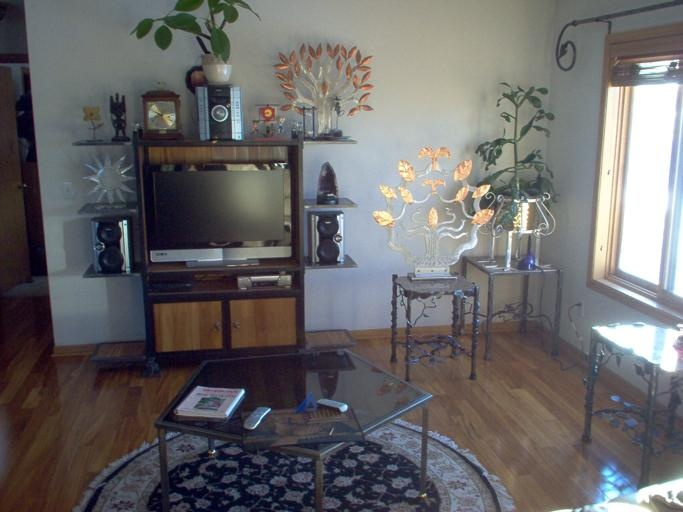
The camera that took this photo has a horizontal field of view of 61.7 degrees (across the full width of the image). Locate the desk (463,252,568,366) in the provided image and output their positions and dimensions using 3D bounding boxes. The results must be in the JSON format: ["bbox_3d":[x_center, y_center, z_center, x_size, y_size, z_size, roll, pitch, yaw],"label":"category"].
[{"bbox_3d":[1.373,0.424,4.803,0.796,0.703,0.710,0,11,3],"label":"desk"}]

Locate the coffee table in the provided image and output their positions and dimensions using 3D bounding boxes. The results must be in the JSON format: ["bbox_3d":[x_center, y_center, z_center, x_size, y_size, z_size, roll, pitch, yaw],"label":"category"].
[{"bbox_3d":[-0.214,0.780,3.147,1.004,0.409,0.935,-4,11,-22],"label":"coffee table"}]

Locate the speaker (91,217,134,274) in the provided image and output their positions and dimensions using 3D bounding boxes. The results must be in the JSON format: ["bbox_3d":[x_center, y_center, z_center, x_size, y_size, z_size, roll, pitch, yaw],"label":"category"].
[{"bbox_3d":[-1.790,-0.095,4.485,0.338,0.424,0.351,-10,16,-43],"label":"speaker"}]

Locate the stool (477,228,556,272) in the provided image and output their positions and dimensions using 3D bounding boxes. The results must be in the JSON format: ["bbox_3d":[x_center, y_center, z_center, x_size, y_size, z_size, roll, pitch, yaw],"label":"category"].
[{"bbox_3d":[1.349,-0.044,4.835,0.549,0.327,0.556,-3,-6,45],"label":"stool"}]

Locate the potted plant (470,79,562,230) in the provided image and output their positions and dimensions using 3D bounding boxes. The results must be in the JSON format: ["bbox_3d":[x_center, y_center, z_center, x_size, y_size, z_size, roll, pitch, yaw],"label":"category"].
[{"bbox_3d":[1.462,-0.820,4.722,0.665,1.217,0.631,-1,14,2],"label":"potted plant"}]

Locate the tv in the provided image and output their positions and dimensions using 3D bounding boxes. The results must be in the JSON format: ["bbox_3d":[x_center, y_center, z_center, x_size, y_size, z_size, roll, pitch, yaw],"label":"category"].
[{"bbox_3d":[-0.995,-0.330,4.371,0.790,0.547,0.034,-1,6,-10],"label":"tv"}]

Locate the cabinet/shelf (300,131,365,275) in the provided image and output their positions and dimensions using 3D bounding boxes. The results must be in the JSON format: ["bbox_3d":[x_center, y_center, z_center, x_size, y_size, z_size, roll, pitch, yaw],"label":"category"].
[{"bbox_3d":[-0.103,-0.408,4.538,0.471,0.979,0.379,1,12,7],"label":"cabinet/shelf"}]

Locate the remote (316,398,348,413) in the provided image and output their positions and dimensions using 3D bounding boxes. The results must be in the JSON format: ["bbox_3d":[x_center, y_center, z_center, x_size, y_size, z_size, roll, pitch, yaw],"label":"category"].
[{"bbox_3d":[-0.050,0.790,3.039,0.202,0.013,0.108,9,17,37],"label":"remote"}]

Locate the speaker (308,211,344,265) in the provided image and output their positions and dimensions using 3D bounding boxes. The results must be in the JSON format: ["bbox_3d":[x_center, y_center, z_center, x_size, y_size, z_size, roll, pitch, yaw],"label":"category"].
[{"bbox_3d":[-0.105,-0.152,4.634,0.300,0.395,0.288,-2,11,-7],"label":"speaker"}]

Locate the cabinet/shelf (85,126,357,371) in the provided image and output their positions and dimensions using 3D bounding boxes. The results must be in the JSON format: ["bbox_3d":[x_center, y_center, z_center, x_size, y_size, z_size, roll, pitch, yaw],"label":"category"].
[{"bbox_3d":[-1.016,-0.078,4.386,1.829,1.864,0.564,-1,5,-10],"label":"cabinet/shelf"}]

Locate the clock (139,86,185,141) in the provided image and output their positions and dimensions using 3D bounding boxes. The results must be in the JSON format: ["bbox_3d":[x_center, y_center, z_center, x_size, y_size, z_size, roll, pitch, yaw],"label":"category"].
[{"bbox_3d":[-1.336,-1.041,4.284,0.297,0.365,0.249,-3,4,-9],"label":"clock"}]

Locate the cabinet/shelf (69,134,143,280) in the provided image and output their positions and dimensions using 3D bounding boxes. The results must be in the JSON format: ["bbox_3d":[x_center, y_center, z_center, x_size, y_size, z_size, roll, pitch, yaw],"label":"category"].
[{"bbox_3d":[-1.818,-0.363,4.420,0.441,1.011,0.292,2,14,-12],"label":"cabinet/shelf"}]
